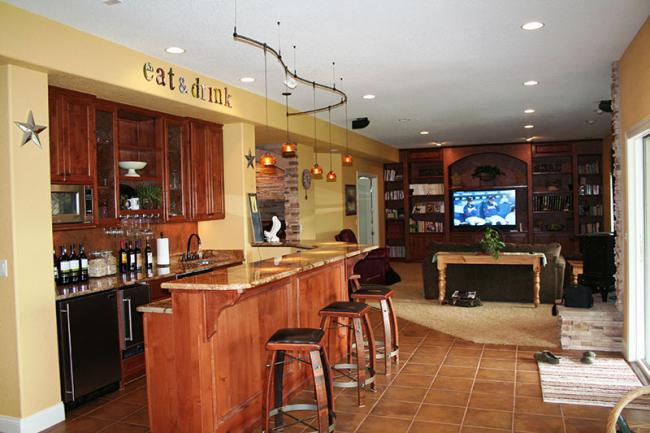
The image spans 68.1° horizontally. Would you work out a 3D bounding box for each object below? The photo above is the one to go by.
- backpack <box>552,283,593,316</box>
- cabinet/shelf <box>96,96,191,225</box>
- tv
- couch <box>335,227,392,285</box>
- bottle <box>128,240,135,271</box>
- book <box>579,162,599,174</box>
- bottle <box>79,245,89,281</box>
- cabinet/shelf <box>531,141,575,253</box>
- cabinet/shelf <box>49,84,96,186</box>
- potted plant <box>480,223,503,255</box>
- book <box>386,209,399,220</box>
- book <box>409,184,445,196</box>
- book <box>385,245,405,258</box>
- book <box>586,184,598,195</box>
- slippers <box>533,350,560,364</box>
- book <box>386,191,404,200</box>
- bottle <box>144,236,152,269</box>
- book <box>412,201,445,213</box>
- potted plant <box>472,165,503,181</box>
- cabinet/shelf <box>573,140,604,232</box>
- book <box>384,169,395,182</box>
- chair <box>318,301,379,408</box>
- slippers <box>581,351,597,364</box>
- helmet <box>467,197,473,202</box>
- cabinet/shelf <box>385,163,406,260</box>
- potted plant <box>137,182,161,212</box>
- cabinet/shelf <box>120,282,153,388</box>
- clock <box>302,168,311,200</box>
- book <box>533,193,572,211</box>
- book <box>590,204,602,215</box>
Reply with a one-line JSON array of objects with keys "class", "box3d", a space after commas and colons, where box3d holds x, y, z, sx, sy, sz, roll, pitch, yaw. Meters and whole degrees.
[{"class": "backpack", "box3d": [3.516, 1.078, 6.799, 0.448, 0.344, 0.300, -6, 3, 35]}, {"class": "cabinet/shelf", "box3d": [-2.749, -0.736, 7.616, 0.704, 1.842, 2.103, -3, 9, -27]}, {"class": "tv", "box3d": [4.383, -0.156, 13.057, 1.396, 0.811, 0.058, 0, 0, 15]}, {"class": "couch", "box3d": [0.590, 0.890, 10.140, 1.373, 1.363, 1.117, -1, -1, 16]}, {"class": "bottle", "box3d": [-2.569, 0.585, 6.419, 0.103, 0.280, 0.085, -5, 9, -13]}, {"class": "book", "box3d": [6.946, -1.254, 12.642, 0.454, 0.280, 0.155, 0, 9, 20]}, {"class": "bottle", "box3d": [-2.961, 0.561, 5.884, 0.095, 0.437, 0.214, -7, 9, -24]}, {"class": "cabinet/shelf", "box3d": [6.172, -0.560, 12.885, 1.027, 2.847, 0.307, -3, 8, 35]}, {"class": "cabinet/shelf", "box3d": [-2.927, -0.929, 5.538, 0.169, 1.062, 0.622, 1, 9, 25]}, {"class": "potted plant", "box3d": [3.235, 0.451, 9.323, 0.589, 0.605, 0.605, 1, -3, -2]}, {"class": "book", "box3d": [1.960, -0.049, 14.119, 0.321, 0.252, 0.066, 1, -14, 4]}, {"class": "book", "box3d": [2.899, -0.768, 13.759, 0.964, 0.311, 0.243, -1, 8, 10]}, {"class": "book", "box3d": [1.969, 0.991, 13.416, 0.547, 0.415, 0.180, 2, 6, 14]}, {"class": "book", "box3d": [7.017, -0.670, 12.653, 0.345, 0.292, 0.244, -2, -2, 28]}, {"class": "slippers", "box3d": [2.766, 1.762, 6.017, 0.250, 0.091, 0.142, 1, 3, 40]}, {"class": "book", "box3d": [2.051, -0.598, 14.081, 0.535, 0.283, 0.176, 0, 9, 16]}, {"class": "bottle", "box3d": [-2.482, 0.525, 6.758, 0.124, 0.372, 0.540, -6, 8, -19]}, {"class": "book", "box3d": [2.989, -0.246, 13.808, 1.056, 0.287, 0.362, 1, -6, 17]}, {"class": "potted plant", "box3d": [4.437, -1.178, 13.315, 0.587, 0.242, 0.569, 1, 2, -1]}, {"class": "cabinet/shelf", "box3d": [7.048, -0.618, 12.828, 0.650, 2.319, 0.283, 2, -21, 17]}, {"class": "book", "box3d": [1.895, -1.175, 14.130, 0.472, 0.392, 0.324, 2, 5, 21]}, {"class": "chair", "box3d": [0.264, 1.567, 5.588, 0.772, 0.840, 0.680, 11, -20, -30]}, {"class": "slippers", "box3d": [3.245, 1.736, 5.954, 0.155, 0.134, 0.158, 14, 6, 44]}, {"class": "helmet", "box3d": [4.001, -0.455, 13.314, 0.102, 0.095, 0.109, -8, 17, -27]}, {"class": "cabinet/shelf", "box3d": [2.020, -0.064, 13.952, 0.705, 2.640, 0.347, -2, -1, 13]}, {"class": "potted plant", "box3d": [-2.382, -0.283, 6.558, 0.392, 0.332, 0.361, 1, 3, -2]}, {"class": "cabinet/shelf", "box3d": [-2.280, 1.419, 5.835, 0.199, 1.179, 0.511, 1, 10, 28]}, {"class": "clock", "box3d": [-0.361, -0.660, 9.919, 0.093, 0.616, 0.422, -1, 8, 15]}, {"class": "book", "box3d": [6.085, -0.359, 12.928, 0.997, 0.438, 0.444, 0, -1, 8]}, {"class": "book", "box3d": [7.138, -0.137, 12.748, 0.380, 0.310, 0.254, 0, -5, 3]}]
